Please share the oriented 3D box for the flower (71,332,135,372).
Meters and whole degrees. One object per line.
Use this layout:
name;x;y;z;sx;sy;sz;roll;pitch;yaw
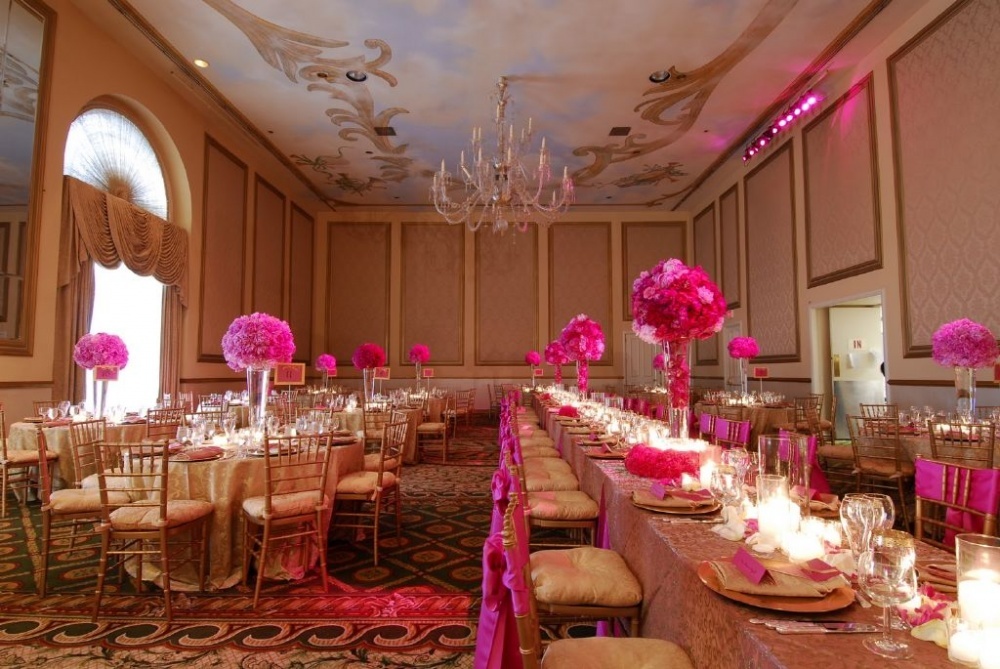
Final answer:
flower;-4.947;0.180;7.799;0.620;0.654;0.583;5;4;36
